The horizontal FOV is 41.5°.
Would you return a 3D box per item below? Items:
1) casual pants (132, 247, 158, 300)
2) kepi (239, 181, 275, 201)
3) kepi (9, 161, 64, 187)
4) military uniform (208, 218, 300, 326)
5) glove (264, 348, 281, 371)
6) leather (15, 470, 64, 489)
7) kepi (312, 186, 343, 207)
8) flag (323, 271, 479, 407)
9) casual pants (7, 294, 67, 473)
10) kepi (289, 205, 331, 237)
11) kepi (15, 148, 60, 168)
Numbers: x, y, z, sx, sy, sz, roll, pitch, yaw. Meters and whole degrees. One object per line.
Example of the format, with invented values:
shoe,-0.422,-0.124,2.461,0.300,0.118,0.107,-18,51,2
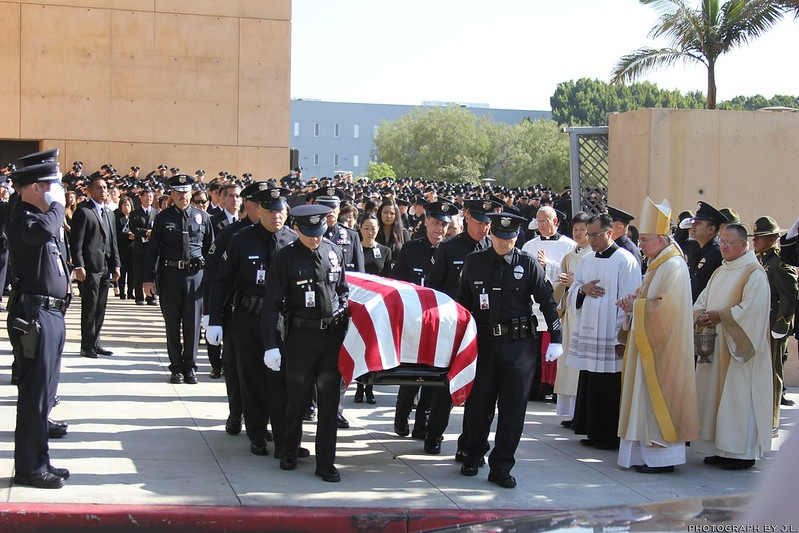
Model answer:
casual pants,-5.161,0.047,21.427,0.486,1.209,0.348,3,-3,29
kepi,-1.871,-1.007,14.021,0.349,0.132,0.376,-4,-2,-40
kepi,-4.136,-1.039,12.096,0.385,0.146,0.323,-5,13,-27
military uniform,-1.763,0.129,13.034,1.433,1.146,0.505,3,7,-29
glove,-1.480,1.100,12.359,0.170,0.275,0.161,-1,6,-10
leather,-4.027,2.402,11.928,0.561,0.188,0.195,1,2,-5
kepi,-0.989,-0.976,14.804,0.433,0.241,0.472,3,-9,-14
flag,0.007,0.754,13.435,1.748,1.129,2.750,5,2,-10
casual pants,-4.076,1.399,11.967,0.512,1.898,0.463,-1,6,-13
kepi,-1.032,-0.537,12.465,0.395,0.199,0.418,-4,13,-18
kepi,-4.186,-1.238,12.239,0.393,0.131,0.339,-3,4,-10
